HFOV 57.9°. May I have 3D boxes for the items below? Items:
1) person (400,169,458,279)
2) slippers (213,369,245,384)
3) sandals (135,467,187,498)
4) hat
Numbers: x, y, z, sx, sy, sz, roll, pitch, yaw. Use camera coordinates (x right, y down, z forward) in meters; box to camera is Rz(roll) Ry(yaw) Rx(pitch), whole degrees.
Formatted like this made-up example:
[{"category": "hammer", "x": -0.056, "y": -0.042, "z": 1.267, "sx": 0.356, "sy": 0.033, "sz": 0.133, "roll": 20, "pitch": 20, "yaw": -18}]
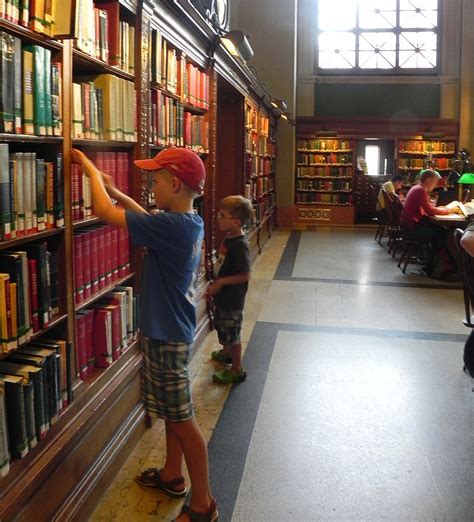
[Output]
[{"category": "person", "x": 2.724, "y": -0.574, "z": 6.007, "sx": 0.615, "sy": 1.400, "sz": 0.952, "roll": -1, "pitch": 9, "yaw": -3}, {"category": "slippers", "x": -0.045, "y": 0.699, "z": 2.622, "sx": 0.167, "sy": 0.070, "sz": 0.090, "roll": 4, "pitch": 10, "yaw": -6}, {"category": "sandals", "x": -0.296, "y": 0.839, "z": 1.680, "sx": 0.196, "sy": 0.067, "sz": 0.078, "roll": 13, "pitch": 8, "yaw": 25}, {"category": "hat", "x": -0.193, "y": -0.268, "z": 1.322, "sx": 0.207, "sy": 0.100, "sz": 0.127, "roll": 19, "pitch": 14, "yaw": -9}]
